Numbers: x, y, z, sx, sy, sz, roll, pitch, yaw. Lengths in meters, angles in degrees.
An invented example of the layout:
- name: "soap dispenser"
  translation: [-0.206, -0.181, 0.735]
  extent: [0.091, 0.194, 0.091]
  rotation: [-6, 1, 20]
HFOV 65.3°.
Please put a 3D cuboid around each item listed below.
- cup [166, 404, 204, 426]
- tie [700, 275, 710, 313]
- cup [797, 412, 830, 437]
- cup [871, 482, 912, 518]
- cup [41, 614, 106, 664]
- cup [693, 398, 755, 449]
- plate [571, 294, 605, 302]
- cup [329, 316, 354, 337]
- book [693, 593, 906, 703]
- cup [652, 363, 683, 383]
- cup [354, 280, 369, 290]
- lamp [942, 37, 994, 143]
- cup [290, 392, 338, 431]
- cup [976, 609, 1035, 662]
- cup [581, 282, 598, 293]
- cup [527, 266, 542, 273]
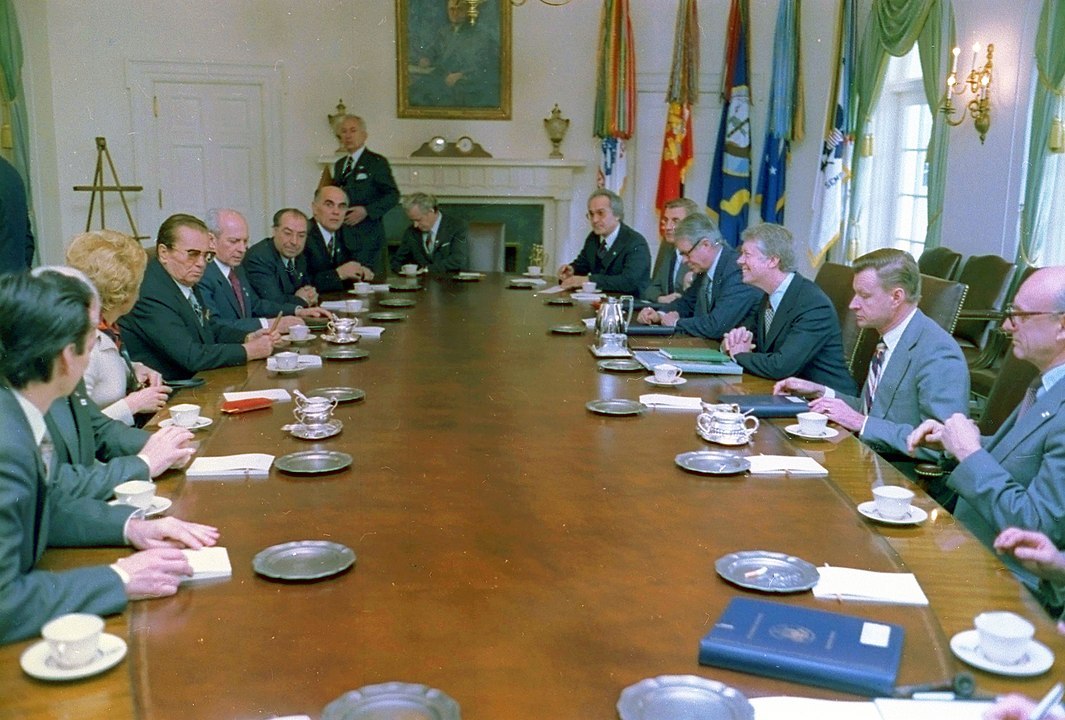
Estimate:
- name: "cup"
  translation: [-1.149, 0.181, 2.761]
  extent: [0.075, 0.042, 0.090]
  rotation: [-1, -1, -10]
- name: "tie"
  translation: [1.081, -0.408, 5.184]
  extent: [0.056, 0.173, 0.125]
  rotation: [6, 14, -6]
- name: "cup"
  translation: [0.939, 0.220, 2.772]
  extent: [0.081, 0.051, 0.082]
  rotation: [0, 1, 0]
- name: "cup"
  translation: [0.946, 0.367, 2.190]
  extent: [0.085, 0.054, 0.086]
  rotation: [-2, 12, 0]
- name: "cup"
  translation: [-0.905, 0.552, 1.637]
  extent: [0.092, 0.055, 0.103]
  rotation: [2, 15, -1]
- name: "cup"
  translation: [0.653, 0.210, 2.737]
  extent: [0.175, 0.099, 0.136]
  rotation: [-4, 14, -13]
- name: "plate"
  translation: [0.356, -0.402, 5.446]
  extent: [0.187, 0.054, 0.199]
  rotation: [-1, 8, -4]
- name: "cup"
  translation: [-0.938, -0.155, 4.047]
  extent: [0.111, 0.078, 0.103]
  rotation: [2, 17, -1]
- name: "book"
  translation: [0.550, 0.589, 1.710]
  extent: [0.403, 0.072, 0.190]
  rotation: [3, 17, 12]
- name: "cup"
  translation: [0.539, 0.054, 3.304]
  extent: [0.091, 0.043, 0.074]
  rotation: [2, 4, 0]
- name: "cup"
  translation: [-1.165, -0.495, 5.652]
  extent: [0.082, 0.052, 0.083]
  rotation: [4, -8, 1]
- name: "lamp"
  translation: [3.111, -1.923, 6.037]
  extent: [0.235, 0.675, 0.499]
  rotation: [-3, 17, -8]
- name: "cup"
  translation: [-0.730, 0.176, 2.798]
  extent: [0.112, 0.099, 0.138]
  rotation: [0, 4, 7]
- name: "cup"
  translation: [0.942, 0.557, 1.663]
  extent: [0.102, 0.072, 0.100]
  rotation: [-2, 8, 0]
- name: "cup"
  translation: [0.391, -0.493, 5.744]
  extent: [0.092, 0.067, 0.084]
  rotation: [-1, 6, 0]
- name: "cup"
  translation: [0.022, -0.731, 6.834]
  extent: [0.066, 0.046, 0.065]
  rotation: [3, 9, 0]
